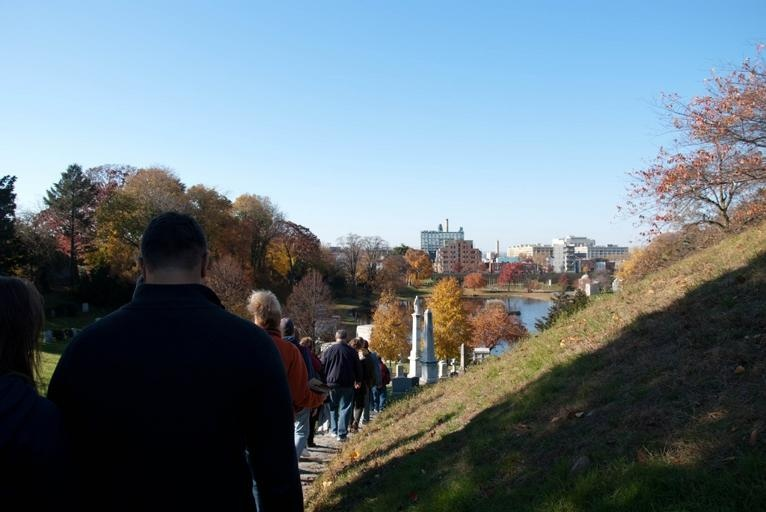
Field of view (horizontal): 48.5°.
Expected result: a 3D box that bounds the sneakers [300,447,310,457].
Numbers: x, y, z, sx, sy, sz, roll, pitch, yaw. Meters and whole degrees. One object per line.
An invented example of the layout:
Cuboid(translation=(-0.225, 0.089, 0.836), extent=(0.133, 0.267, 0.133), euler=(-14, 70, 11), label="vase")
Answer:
Cuboid(translation=(-1.429, 3.791, 16.315), extent=(0.266, 0.122, 0.133), euler=(-1, 1, 5), label="sneakers")

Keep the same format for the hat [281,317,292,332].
Cuboid(translation=(-1.558, 1.133, 13.898), extent=(0.159, 0.233, 0.214), euler=(4, 6, 26), label="hat")
